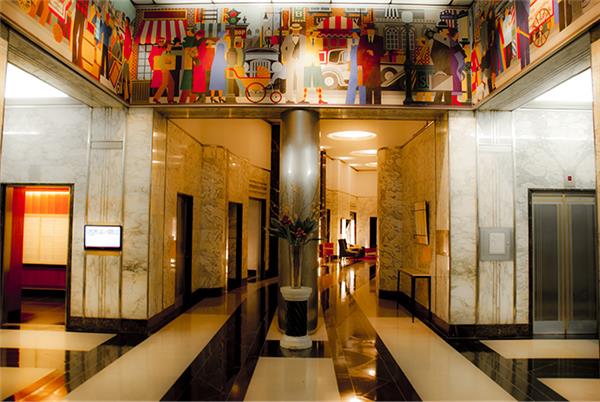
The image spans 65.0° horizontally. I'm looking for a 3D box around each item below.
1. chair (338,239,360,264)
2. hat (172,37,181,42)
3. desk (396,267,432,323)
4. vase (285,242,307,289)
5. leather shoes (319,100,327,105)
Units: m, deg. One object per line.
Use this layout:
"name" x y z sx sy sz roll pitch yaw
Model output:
"chair" 2.279 2.342 22.186 0.976 1.407 0.985 -1 -2 8
"hat" -2.577 -3.337 9.766 0.136 0.100 0.074 0 -6 -4
"desk" 2.924 2.212 11.366 0.427 0.979 1.762 -1 -4 14
"vase" -0.100 1.266 9.353 0.265 0.941 0.355 0 10 -2
"leather shoes" 0.468 -1.999 9.603 0.168 0.071 0.032 0 10 0
